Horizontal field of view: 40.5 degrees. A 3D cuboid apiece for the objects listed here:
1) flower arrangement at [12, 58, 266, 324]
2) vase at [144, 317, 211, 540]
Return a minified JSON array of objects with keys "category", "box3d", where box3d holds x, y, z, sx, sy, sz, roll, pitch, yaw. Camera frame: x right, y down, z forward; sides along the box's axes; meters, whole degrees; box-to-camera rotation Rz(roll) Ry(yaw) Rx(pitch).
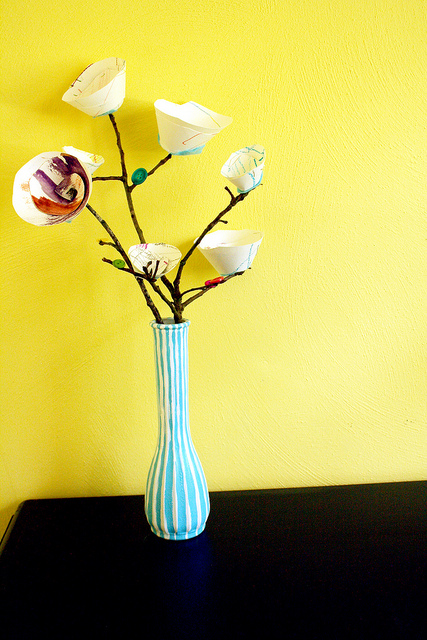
[{"category":"flower arrangement","box3d":[-0.098,-0.192,1.044,0.467,0.490,0.271,-8,29,-8]},{"category":"vase","box3d":[-0.064,0.197,1.096,0.122,0.395,0.222,1,23,-9]}]
